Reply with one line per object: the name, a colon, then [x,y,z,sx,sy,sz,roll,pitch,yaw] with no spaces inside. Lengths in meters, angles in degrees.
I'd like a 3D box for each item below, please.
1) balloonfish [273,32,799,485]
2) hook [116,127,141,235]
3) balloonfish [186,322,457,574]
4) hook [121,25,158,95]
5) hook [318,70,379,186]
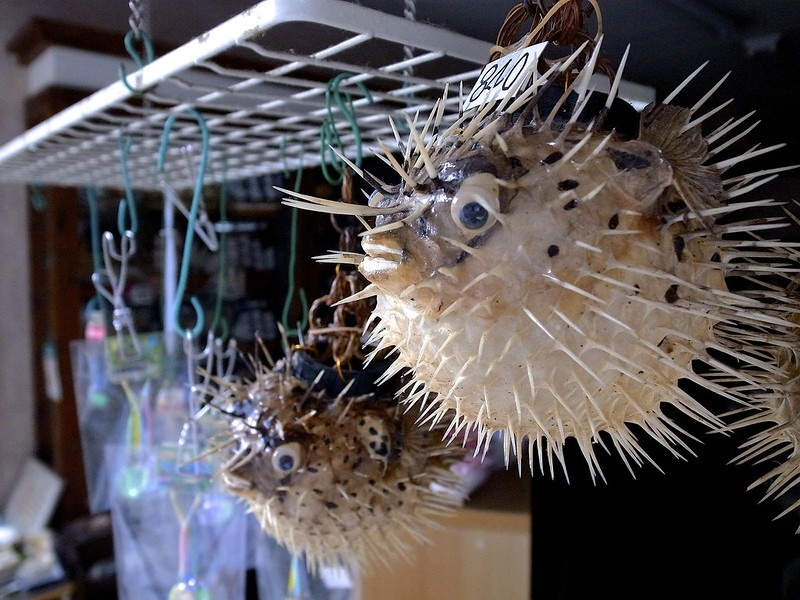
balloonfish: [0.283,-0.033,1.950,0.761,0.780,0.785,-20,110,7]
hook: [-0.587,-0.252,2.074,0.018,0.047,0.239,18,64,-60]
balloonfish: [-0.143,0.356,2.091,0.632,0.527,0.453,7,85,-46]
hook: [-0.489,-0.445,1.802,0.061,0.017,0.141,0,72,-2]
hook: [-0.125,-0.342,1.979,0.117,0.040,0.230,-12,94,-49]
